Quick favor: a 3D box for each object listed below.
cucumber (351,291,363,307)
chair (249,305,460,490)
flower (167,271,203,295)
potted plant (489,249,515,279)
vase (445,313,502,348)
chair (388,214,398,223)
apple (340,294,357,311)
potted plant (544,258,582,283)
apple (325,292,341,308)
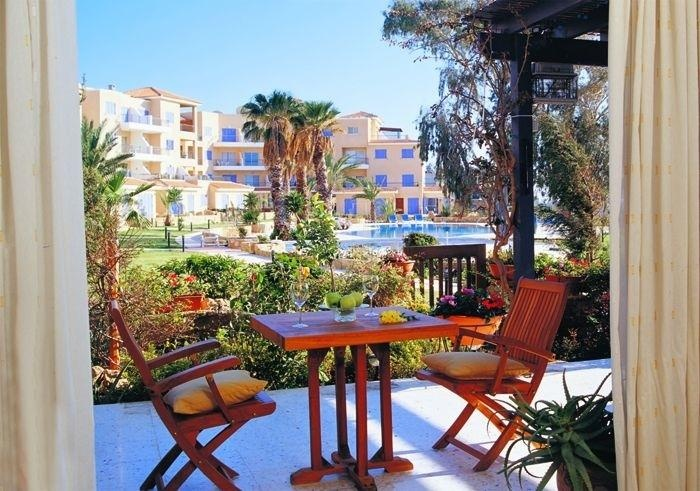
[{"bbox_3d":[0.049,0.358,5.294,0.069,0.099,0.076,-1,-2,-9],"label":"cucumber"},{"bbox_3d":[-0.005,0.965,5.231,1.164,1.014,0.787,-3,5,-14],"label":"chair"},{"bbox_3d":[-1.982,0.480,9.528,0.283,0.194,0.305,4,6,-12],"label":"flower"},{"bbox_3d":[1.739,0.240,9.197,0.352,0.333,0.431,0,-3,1],"label":"potted plant"},{"bbox_3d":[1.094,0.700,6.845,0.383,0.321,0.429,0,-6,2],"label":"vase"},{"bbox_3d":[1.975,-1.179,37.191,0.288,0.510,0.420,-1,-7,1],"label":"chair"},{"bbox_3d":[-0.015,0.378,5.214,0.084,0.123,0.091,6,2,-5],"label":"apple"},{"bbox_3d":[2.417,0.296,9.067,0.477,0.326,0.584,-1,1,0],"label":"potted plant"},{"bbox_3d":[-0.109,0.362,5.297,0.086,0.117,0.087,12,-30,-39],"label":"apple"}]
